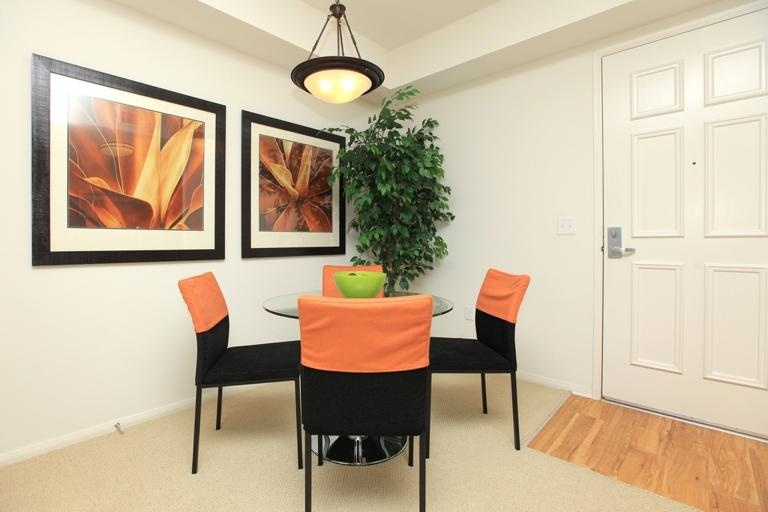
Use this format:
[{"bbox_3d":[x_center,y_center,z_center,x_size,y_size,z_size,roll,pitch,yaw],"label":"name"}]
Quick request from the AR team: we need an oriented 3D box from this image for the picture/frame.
[{"bbox_3d":[-1.717,-0.836,4.247,1.959,0.973,0.025,4,-6,-42],"label":"picture/frame"}]

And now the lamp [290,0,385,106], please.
[{"bbox_3d":[-0.426,-1.767,4.227,0.695,0.999,1.020,-1,5,-11],"label":"lamp"}]

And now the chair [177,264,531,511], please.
[{"bbox_3d":[-0.286,1.458,4.306,2.637,1.526,1.404,0,-4,-7],"label":"chair"}]

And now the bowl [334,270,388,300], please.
[{"bbox_3d":[-0.193,0.218,3.737,0.301,0.189,0.356,3,5,33],"label":"bowl"}]
